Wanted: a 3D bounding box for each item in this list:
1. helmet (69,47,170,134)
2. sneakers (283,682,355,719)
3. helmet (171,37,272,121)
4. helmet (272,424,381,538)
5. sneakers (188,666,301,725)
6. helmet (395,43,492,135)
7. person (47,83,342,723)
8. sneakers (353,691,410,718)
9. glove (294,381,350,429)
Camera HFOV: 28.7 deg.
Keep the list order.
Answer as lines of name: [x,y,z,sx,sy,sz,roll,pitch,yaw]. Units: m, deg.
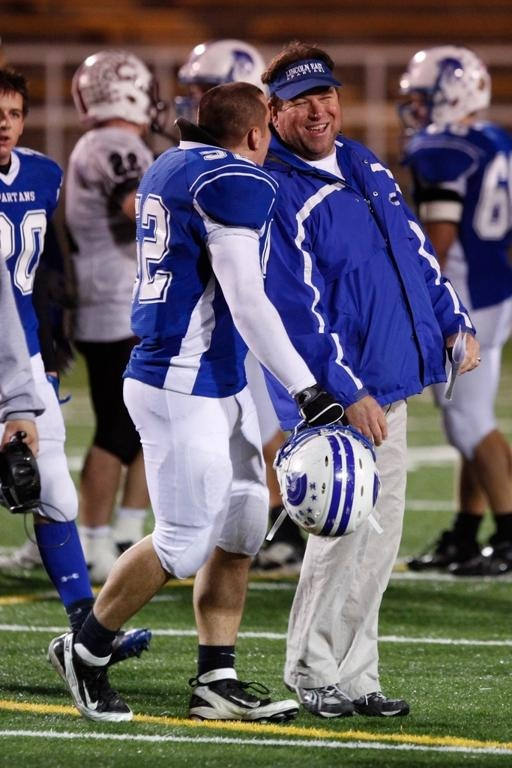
helmet: [-0.691,-1.376,4.732,0.376,0.382,0.518,9,16,38]
sneakers: [0.155,0.768,2.456,0.055,0.058,0.158,-25,21,-40]
helmet: [-0.142,-1.579,5.234,0.457,0.358,0.357,-12,20,-29]
helmet: [0.160,0.218,2.224,0.232,0.252,0.183,0,-3,0]
sneakers: [-0.030,0.745,2.399,0.290,0.124,0.085,-4,-18,20]
helmet: [0.936,-1.481,4.918,0.478,0.362,0.334,-7,17,11]
person: [-0.126,0.130,2.305,0.454,1.325,0.577,2,-3,-31]
sneakers: [0.306,0.786,2.468,0.148,0.058,0.052,-2,-2,22]
glove: [0.141,0.052,2.204,0.080,0.103,0.097,-39,17,-30]
